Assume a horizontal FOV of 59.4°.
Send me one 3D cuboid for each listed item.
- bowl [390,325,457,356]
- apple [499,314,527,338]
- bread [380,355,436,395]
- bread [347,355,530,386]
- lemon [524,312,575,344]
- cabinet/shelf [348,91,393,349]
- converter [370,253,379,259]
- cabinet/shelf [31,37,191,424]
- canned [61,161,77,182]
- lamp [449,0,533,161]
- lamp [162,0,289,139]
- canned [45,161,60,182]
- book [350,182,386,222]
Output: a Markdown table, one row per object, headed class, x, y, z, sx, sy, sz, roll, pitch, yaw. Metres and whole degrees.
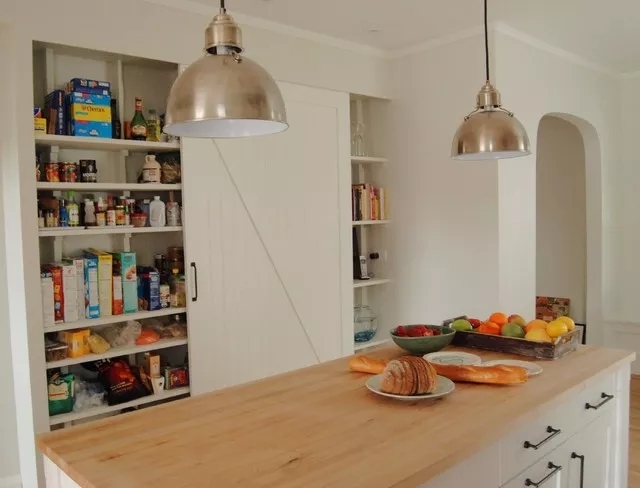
| class | x | y | z | sx | sy | sz | roll | pitch | yaw |
| --- | --- | --- | --- | --- | --- | --- | --- | --- | --- |
| bowl | 0.522 | 0.482 | 2.837 | 0.305 | 0.154 | 0.233 | -1 | 5 | 14 |
| apple | 1.004 | 0.421 | 2.928 | 0.100 | 0.088 | 0.123 | -6 | 26 | -29 |
| bread | 0.366 | 0.533 | 2.335 | 0.203 | 0.103 | 0.143 | -3 | 4 | -18 |
| bread | 0.522 | 0.568 | 2.505 | 0.756 | 0.070 | 0.160 | 0 | -1 | 23 |
| lemon | 1.158 | 0.428 | 2.853 | 0.195 | 0.075 | 0.144 | -6 | 0 | -24 |
| cabinet/shelf | 0.428 | -0.214 | 4.915 | 0.343 | 2.131 | 0.538 | -2 | 5 | 7 |
| converter | 0.486 | 0.108 | 5.113 | 0.054 | 0.058 | 0.090 | -5 | 6 | -37 |
| cabinet/shelf | -1.333 | -0.030 | 3.668 | 0.975 | 2.408 | 0.583 | -5 | 5 | -25 |
| canned | -1.552 | -0.442 | 3.457 | 0.090 | 0.113 | 0.046 | -6 | 6 | -38 |
| lamp | 0.937 | -0.974 | 3.115 | 0.371 | 1.007 | 1.054 | -1 | 5 | 17 |
| lamp | -0.359 | -0.646 | 2.047 | 0.450 | 0.469 | 0.352 | -3 | 5 | -7 |
| canned | -1.655 | -0.443 | 3.452 | 0.081 | 0.120 | 0.173 | -5 | 5 | -27 |
| book | 0.439 | -0.337 | 4.931 | 0.308 | 0.365 | 0.393 | -1 | 0 | 9 |
